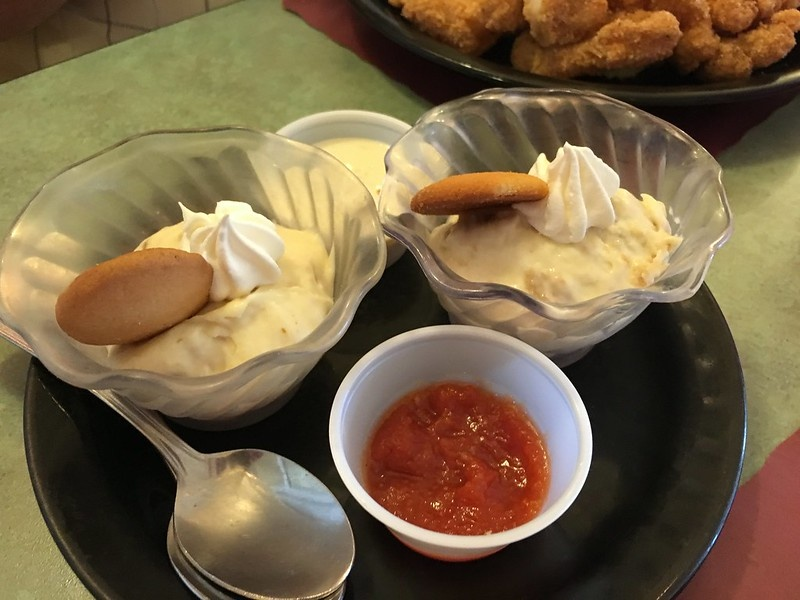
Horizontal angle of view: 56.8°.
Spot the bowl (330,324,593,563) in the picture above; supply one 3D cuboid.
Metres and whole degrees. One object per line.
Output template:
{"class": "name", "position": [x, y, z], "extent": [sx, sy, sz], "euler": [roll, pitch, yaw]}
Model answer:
{"class": "bowl", "position": [0.126, 0.166, 1.159], "extent": [0.431, 0.148, 0.393], "euler": [0, 53, 0]}

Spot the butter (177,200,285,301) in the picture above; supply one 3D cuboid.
{"class": "butter", "position": [-0.288, -0.079, 1.327], "extent": [0.150, 0.104, 0.177], "euler": [-39, 66, -11]}

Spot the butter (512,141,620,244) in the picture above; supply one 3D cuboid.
{"class": "butter", "position": [0.320, -0.174, 1.386], "extent": [0.168, 0.139, 0.189], "euler": [-27, 43, 11]}
